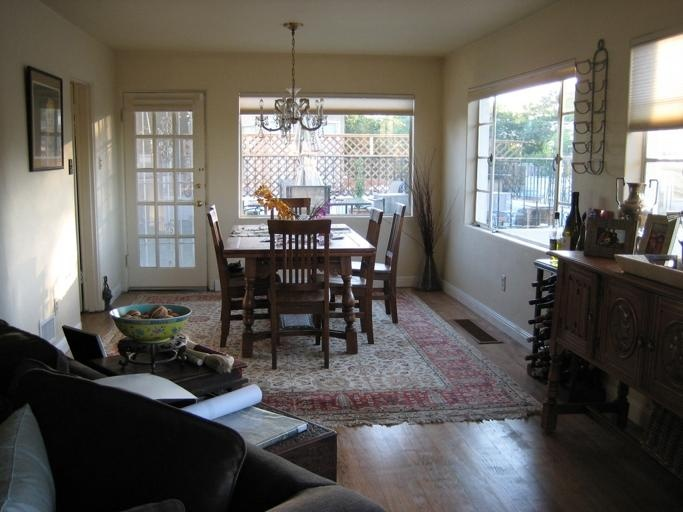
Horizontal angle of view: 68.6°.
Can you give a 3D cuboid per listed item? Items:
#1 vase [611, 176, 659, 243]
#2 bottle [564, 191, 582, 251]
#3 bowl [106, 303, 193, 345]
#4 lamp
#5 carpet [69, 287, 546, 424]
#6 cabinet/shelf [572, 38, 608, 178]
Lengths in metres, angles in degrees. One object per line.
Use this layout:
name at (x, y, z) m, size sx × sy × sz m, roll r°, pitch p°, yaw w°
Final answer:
vase at (1.694, -0.277, 2.903) m, size 0.201 × 0.342 × 0.158 m, roll 8°, pitch 5°, yaw 35°
bottle at (1.587, -0.242, 3.410) m, size 0.112 × 0.374 × 0.308 m, roll 5°, pitch 12°, yaw 25°
bowl at (-0.865, 0.290, 2.172) m, size 0.248 × 0.090 × 0.253 m, roll 5°, pitch 10°, yaw -1°
lamp at (-0.429, -1.683, 4.800) m, size 0.575 × 0.886 × 0.587 m, roll 17°, pitch 30°, yaw 40°
carpet at (-0.037, 0.919, 4.364) m, size 2.743 × 0.015 × 3.025 m, roll -5°, pitch 1°, yaw 12°
cabinet/shelf at (1.774, -1.129, 3.561) m, size 0.298 × 0.755 × 0.090 m, roll -2°, pitch 11°, yaw -3°
